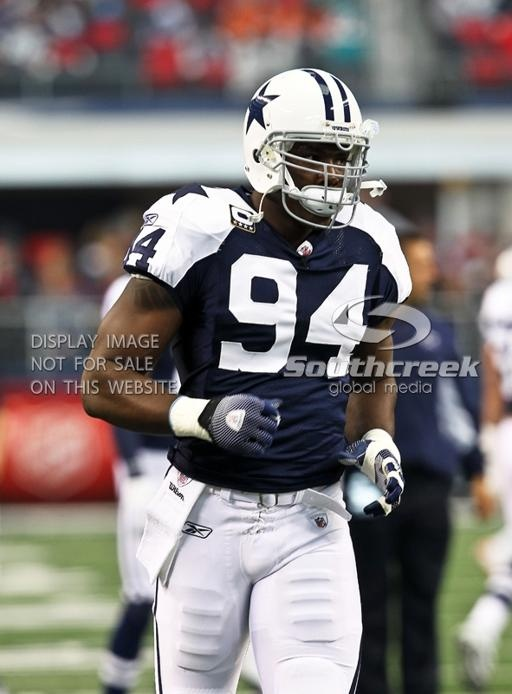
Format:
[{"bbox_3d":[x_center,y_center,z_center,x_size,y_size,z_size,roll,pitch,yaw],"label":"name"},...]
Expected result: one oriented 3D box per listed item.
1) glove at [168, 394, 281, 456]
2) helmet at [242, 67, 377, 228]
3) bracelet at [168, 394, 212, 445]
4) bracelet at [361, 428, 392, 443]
[{"bbox_3d":[-0.063,0.145,1.801,0.207,0.106,0.079,0,-20,20],"label":"glove"},{"bbox_3d":[0.104,-0.449,2.060,0.283,0.305,0.353,-5,17,-36],"label":"helmet"},{"bbox_3d":[-0.134,0.153,1.848,0.101,0.077,0.036,5,2,19],"label":"bracelet"},{"bbox_3d":[0.275,0.204,2.129,0.062,0.029,0.041,-13,49,-17],"label":"bracelet"}]
